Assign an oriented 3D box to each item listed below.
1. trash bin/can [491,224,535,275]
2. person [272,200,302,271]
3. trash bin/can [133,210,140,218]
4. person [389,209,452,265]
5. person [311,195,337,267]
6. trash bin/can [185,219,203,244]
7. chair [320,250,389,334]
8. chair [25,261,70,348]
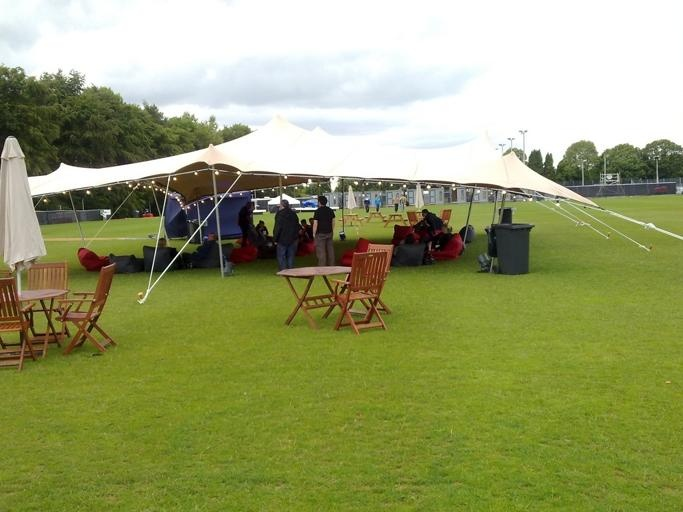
[{"bbox_3d":[4.119,-0.218,14.228,1.268,1.446,1.095,-2,0,-7],"label":"trash bin/can"},{"bbox_3d":[-1.305,-0.495,13.736,0.593,1.721,0.897,-3,9,-7],"label":"person"},{"bbox_3d":[-22.718,-4.718,63.705,0.828,0.829,1.165,-1,6,-10],"label":"trash bin/can"},{"bbox_3d":[2.282,-0.593,17.152,1.525,0.890,2.101,-2,3,20],"label":"person"},{"bbox_3d":[-0.443,-0.612,14.481,0.563,1.812,0.448,-7,9,-30],"label":"person"},{"bbox_3d":[-6.820,-1.174,26.817,0.657,1.066,2.211,-4,8,-15],"label":"trash bin/can"},{"bbox_3d":[0.146,0.531,9.516,1.186,1.539,1.142,-5,3,-40],"label":"chair"},{"bbox_3d":[-4.449,0.716,8.510,0.694,1.093,0.748,-2,9,-2],"label":"chair"}]
